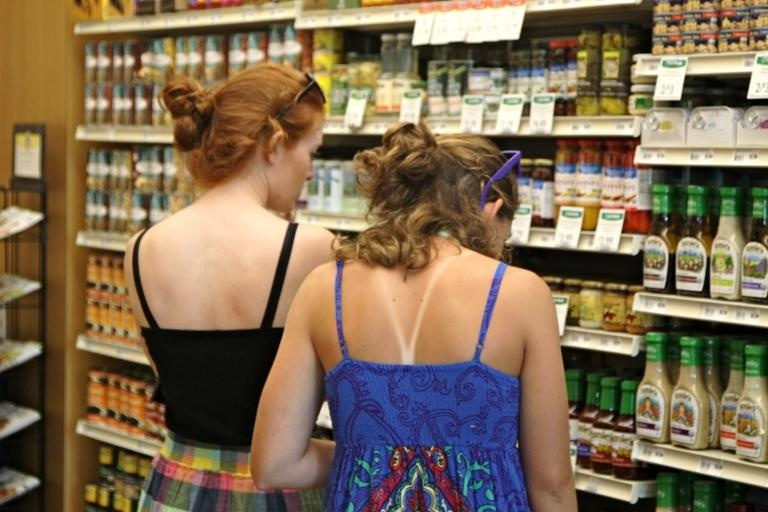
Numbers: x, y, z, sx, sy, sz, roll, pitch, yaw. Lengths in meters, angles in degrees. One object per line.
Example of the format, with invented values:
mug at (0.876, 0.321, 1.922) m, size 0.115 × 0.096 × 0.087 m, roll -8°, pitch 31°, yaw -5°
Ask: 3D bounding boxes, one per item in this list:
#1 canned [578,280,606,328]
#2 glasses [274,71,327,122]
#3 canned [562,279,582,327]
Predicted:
canned at (0.968, 0.227, 3.034) m, size 0.121 × 0.211 × 0.127 m, roll 2°, pitch 0°, yaw -10°
glasses at (-0.260, -0.481, 1.967) m, size 0.057 × 0.195 × 0.190 m, roll -32°, pitch 25°, yaw -31°
canned at (0.918, 0.228, 3.100) m, size 0.133 × 0.204 × 0.136 m, roll 10°, pitch -4°, yaw 10°
